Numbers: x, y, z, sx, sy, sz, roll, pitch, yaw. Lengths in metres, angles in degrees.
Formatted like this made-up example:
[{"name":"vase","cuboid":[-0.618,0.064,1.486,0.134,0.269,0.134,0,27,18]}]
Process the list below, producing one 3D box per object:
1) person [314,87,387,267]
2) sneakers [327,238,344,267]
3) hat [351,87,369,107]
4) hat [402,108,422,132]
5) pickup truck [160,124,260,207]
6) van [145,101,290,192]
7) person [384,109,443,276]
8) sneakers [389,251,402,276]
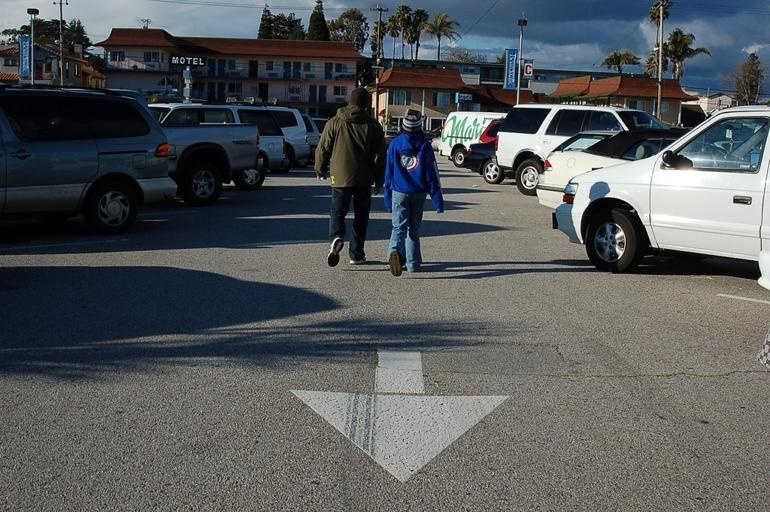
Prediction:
[{"name":"person","cuboid":[-0.505,-1.170,9.914,1.042,2.663,0.759,-2,13,-13]},{"name":"sneakers","cuboid":[-0.746,-0.065,9.856,0.183,0.492,0.200,6,4,-30]},{"name":"hat","cuboid":[-0.377,-2.374,9.857,0.284,0.311,0.461,0,15,-6]},{"name":"hat","cuboid":[0.400,-2.006,9.673,0.219,0.231,0.338,7,16,1]},{"name":"pickup truck","cuboid":[-4.305,-2.428,16.662,2.360,1.218,1.364,-3,6,-35]},{"name":"van","cuboid":[-4.644,-3.376,19.631,4.288,2.197,2.178,-2,6,-32]},{"name":"person","cuboid":[0.389,-0.921,9.620,0.770,2.315,0.514,-4,13,-19]},{"name":"sneakers","cuboid":[0.159,0.105,9.379,0.136,0.382,0.145,-1,-7,-3]}]
